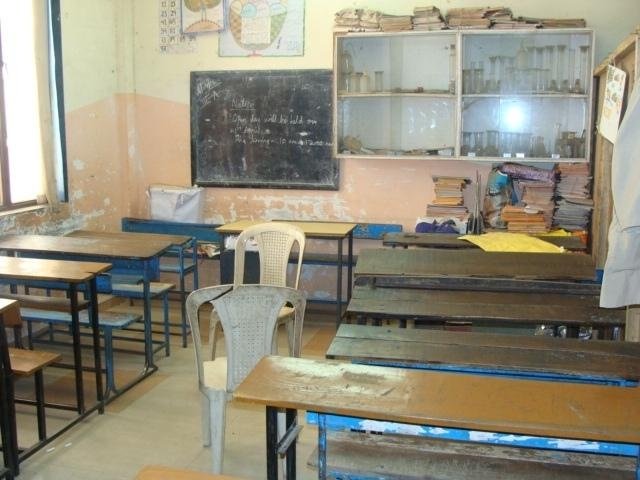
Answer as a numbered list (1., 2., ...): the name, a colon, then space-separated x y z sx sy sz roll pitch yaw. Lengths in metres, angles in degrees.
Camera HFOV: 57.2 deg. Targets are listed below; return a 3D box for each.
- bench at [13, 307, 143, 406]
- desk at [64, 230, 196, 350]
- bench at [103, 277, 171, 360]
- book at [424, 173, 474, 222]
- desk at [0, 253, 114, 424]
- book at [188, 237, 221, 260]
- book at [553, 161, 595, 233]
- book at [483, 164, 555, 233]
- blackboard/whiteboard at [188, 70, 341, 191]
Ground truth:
1. bench: -1.846 0.898 4.441 0.823 0.374 0.234 6 17 18
2. desk: -1.610 0.426 4.910 1.052 0.707 0.525 5 16 14
3. bench: -1.643 0.669 5.150 0.477 0.662 0.628 -29 -30 7
4. book: 1.283 -0.457 5.904 0.529 0.466 0.438 3 8 22
5. desk: -1.897 0.716 4.228 1.098 0.916 0.469 6 17 13
6. book: -1.217 0.106 6.112 0.289 0.072 0.276 8 14 17
7. book: 2.357 -0.408 5.452 0.483 0.565 0.203 2 -4 13
8. book: 1.913 -0.392 5.605 0.686 0.626 0.230 4 4 32
9. blackboard/whiteboard: -0.539 -1.229 6.304 1.474 0.952 0.065 1 9 11
